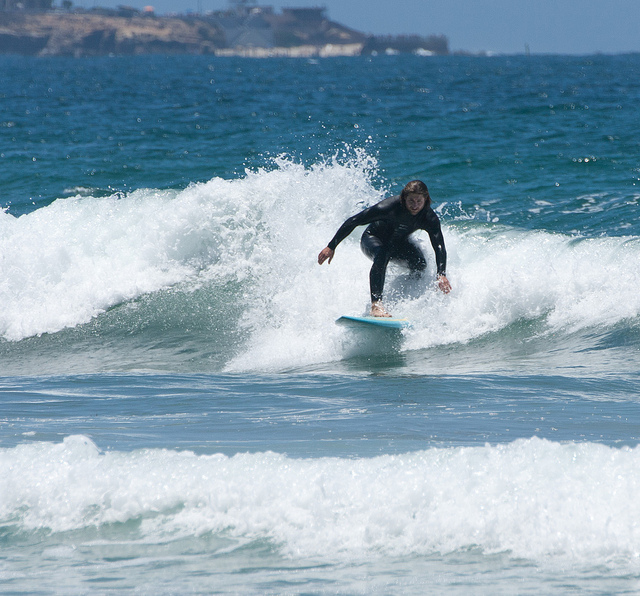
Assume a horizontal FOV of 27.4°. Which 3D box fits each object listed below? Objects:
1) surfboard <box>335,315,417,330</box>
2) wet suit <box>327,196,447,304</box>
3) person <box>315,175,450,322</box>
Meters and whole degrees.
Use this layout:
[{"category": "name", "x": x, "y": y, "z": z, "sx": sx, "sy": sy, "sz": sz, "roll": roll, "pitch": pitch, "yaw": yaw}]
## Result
[{"category": "surfboard", "x": 0.645, "y": 0.327, "z": 15.525, "sx": 1.057, "sy": 0.126, "sz": 0.266, "roll": 3, "pitch": -5, "yaw": -41}, {"category": "wet suit", "x": 0.863, "y": -0.597, "z": 15.822, "sx": 1.245, "sy": 1.230, "sz": 0.706, "roll": -6, "pitch": 15, "yaw": -24}, {"category": "person", "x": 0.856, "y": -0.594, "z": 15.768, "sx": 1.160, "sy": 1.611, "sz": 0.885, "roll": -8, "pitch": 16, "yaw": -31}]
